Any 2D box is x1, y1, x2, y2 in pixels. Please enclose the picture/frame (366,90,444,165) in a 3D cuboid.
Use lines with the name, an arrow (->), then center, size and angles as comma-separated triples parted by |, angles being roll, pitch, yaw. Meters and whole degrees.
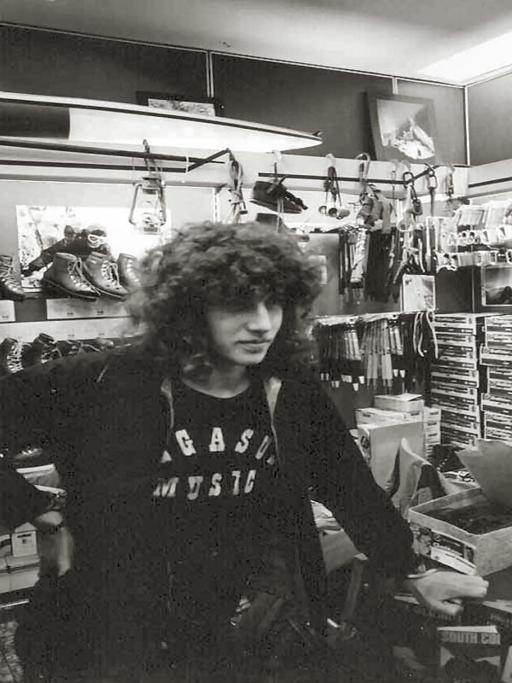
picture/frame -> 0.205, -0.300, 0.828 | 0.138, 0.107, 0.053 | -9, 6, -44
